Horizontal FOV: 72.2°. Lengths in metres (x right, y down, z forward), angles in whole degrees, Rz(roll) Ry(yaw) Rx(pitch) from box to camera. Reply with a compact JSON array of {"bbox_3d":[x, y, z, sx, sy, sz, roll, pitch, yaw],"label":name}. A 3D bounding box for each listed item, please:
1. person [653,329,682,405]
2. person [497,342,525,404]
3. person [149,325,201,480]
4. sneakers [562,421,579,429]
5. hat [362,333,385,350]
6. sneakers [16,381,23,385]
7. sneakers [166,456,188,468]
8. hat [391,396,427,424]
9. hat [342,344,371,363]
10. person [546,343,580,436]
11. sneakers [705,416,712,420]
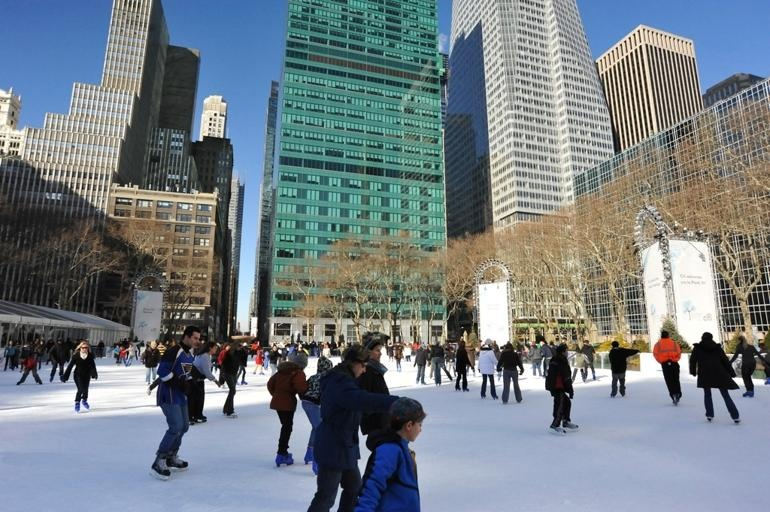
[{"bbox_3d":[11.388,4.449,21.357,0.854,2.897,1.282,-5,-10,28],"label":"person"},{"bbox_3d":[5.189,4.824,22.020,0.980,2.332,0.627,-1,-3,20],"label":"person"},{"bbox_3d":[-6.071,4.157,15.357,1.046,4.219,1.213,3,-10,-19],"label":"person"},{"bbox_3d":[6.300,5.787,17.986,0.508,0.204,0.268,-1,1,-15],"label":"sneakers"},{"bbox_3d":[-0.290,2.246,13.932,0.384,0.263,0.539,-3,-3,29],"label":"hat"},{"bbox_3d":[-18.850,6.562,27.224,0.156,0.157,0.418,6,-11,-35],"label":"sneakers"},{"bbox_3d":[-6.008,5.952,15.253,0.605,0.286,0.279,3,-2,-15],"label":"sneakers"},{"bbox_3d":[0.482,3.356,11.469,0.640,0.547,0.534,-1,8,-29],"label":"hat"},{"bbox_3d":[-0.684,2.345,12.645,0.495,0.492,0.382,-8,-7,-24],"label":"hat"},{"bbox_3d":[6.016,4.489,18.184,0.918,2.958,1.314,-3,-10,19],"label":"person"},{"bbox_3d":[11.145,5.608,18.227,0.146,0.124,0.164,3,-13,-4],"label":"sneakers"}]
